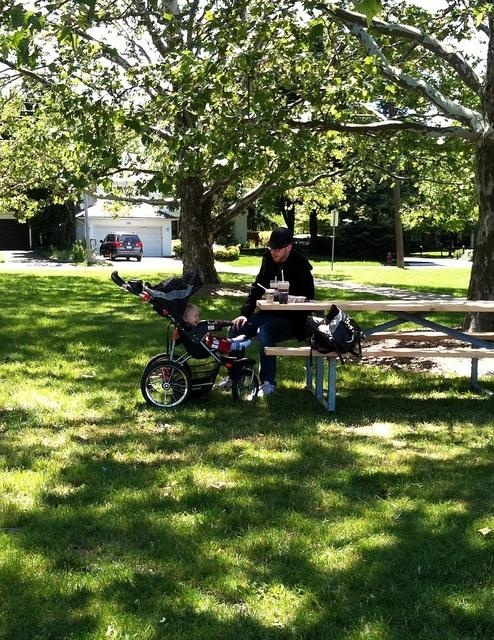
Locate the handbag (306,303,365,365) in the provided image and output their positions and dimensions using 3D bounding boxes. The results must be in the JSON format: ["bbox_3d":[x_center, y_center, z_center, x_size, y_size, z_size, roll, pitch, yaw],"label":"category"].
[{"bbox_3d":[0.904,0.189,6.045,0.207,0.503,0.547,-37,-34,23],"label":"handbag"}]

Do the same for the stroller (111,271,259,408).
[{"bbox_3d":[-0.477,0.187,6.597,1.221,1.342,1.642,2,5,11],"label":"stroller"}]

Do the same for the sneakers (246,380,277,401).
[{"bbox_3d":[0.144,0.785,6.748,0.353,0.141,0.134,4,-3,-41],"label":"sneakers"}]

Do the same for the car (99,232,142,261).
[{"bbox_3d":[-8.794,-5.043,43.401,1.765,1.270,3.415,-2,9,-21],"label":"car"}]

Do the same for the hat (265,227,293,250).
[{"bbox_3d":[0.344,-0.874,6.689,0.190,0.145,0.281,26,36,34],"label":"hat"}]

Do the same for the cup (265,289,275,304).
[{"bbox_3d":[0.240,-0.241,6.528,0.136,0.177,0.148,-1,9,0],"label":"cup"}]

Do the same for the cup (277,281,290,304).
[{"bbox_3d":[0.363,-0.269,6.368,0.113,0.220,0.153,1,5,2],"label":"cup"}]
